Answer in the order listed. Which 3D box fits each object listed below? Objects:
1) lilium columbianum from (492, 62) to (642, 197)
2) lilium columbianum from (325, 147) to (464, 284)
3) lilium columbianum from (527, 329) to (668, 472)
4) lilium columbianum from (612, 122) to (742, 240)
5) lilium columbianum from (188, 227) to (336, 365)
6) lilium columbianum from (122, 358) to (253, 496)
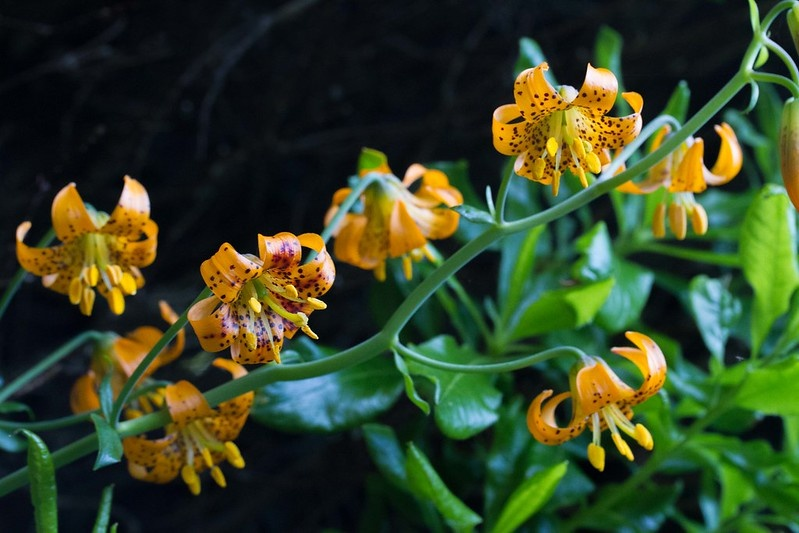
[{"bbox_3d":[0.245,-0.208,1.095,0.190,0.144,0.194,-4,-17,-4],"label":"lilium columbianum"},{"bbox_3d":[-0.017,-0.054,1.272,0.239,0.178,0.231,-9,-1,4],"label":"lilium columbianum"},{"bbox_3d":[0.267,0.177,1.132,0.196,0.158,0.176,-19,-13,-2],"label":"lilium columbianum"},{"bbox_3d":[0.415,-0.129,1.142,0.157,0.185,0.163,7,-6,-29],"label":"lilium columbianum"},{"bbox_3d":[-0.203,0.053,1.088,0.185,0.180,0.125,-4,-31,42],"label":"lilium columbianum"},{"bbox_3d":[-0.308,0.262,1.147,0.171,0.167,0.160,-5,5,-17],"label":"lilium columbianum"}]
